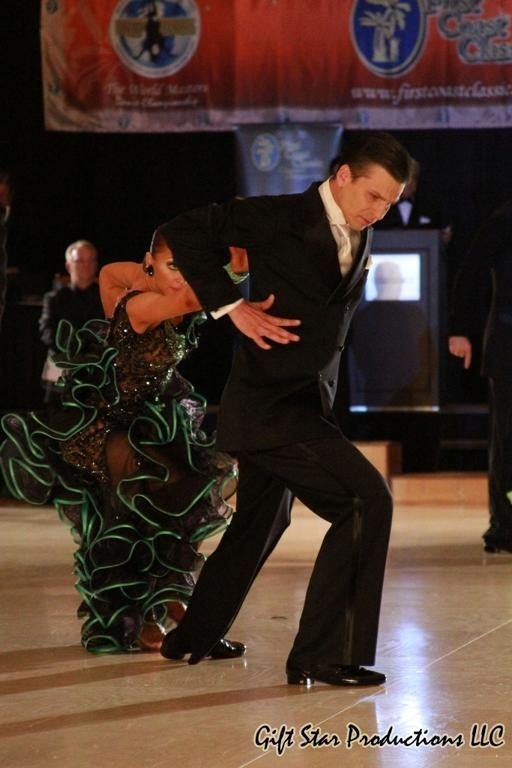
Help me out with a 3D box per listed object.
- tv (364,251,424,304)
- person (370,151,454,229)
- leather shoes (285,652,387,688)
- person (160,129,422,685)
[{"bbox_3d":[0.969,-0.750,5.483,0.531,0.404,0.054,8,15,42],"label":"tv"},{"bbox_3d":[1.098,-1.216,5.673,0.420,0.845,0.278,-6,20,4],"label":"person"},{"bbox_3d":[0.175,0.617,1.681,0.208,0.071,0.070,-2,-7,9],"label":"leather shoes"},{"bbox_3d":[0.034,0.115,1.704,0.544,1.282,0.479,2,20,7],"label":"person"}]
